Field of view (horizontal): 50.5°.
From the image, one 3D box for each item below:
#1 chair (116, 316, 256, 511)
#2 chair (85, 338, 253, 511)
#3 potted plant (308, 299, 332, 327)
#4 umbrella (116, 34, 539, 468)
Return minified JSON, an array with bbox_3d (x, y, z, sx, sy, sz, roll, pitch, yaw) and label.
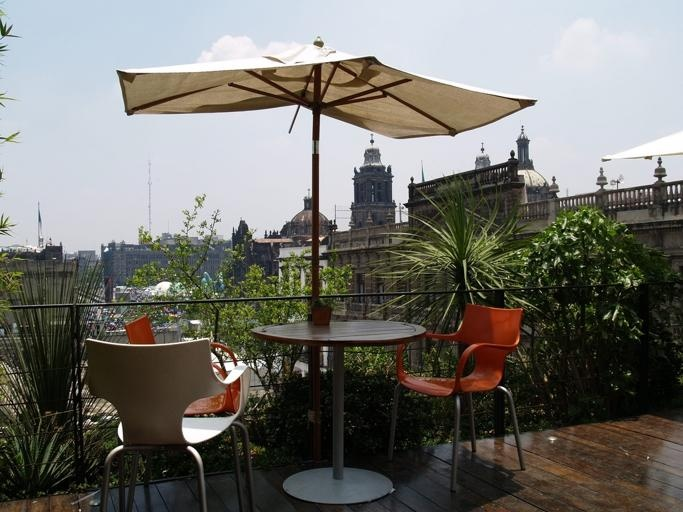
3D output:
[{"bbox_3d":[-1.087,0.914,5.088,0.749,0.836,0.803,-1,3,-33],"label":"chair"},{"bbox_3d":[-1.137,1.050,4.883,0.984,1.705,1.141,1,-2,2],"label":"chair"},{"bbox_3d":[-0.158,0.463,5.718,0.171,0.145,0.168,-2,-3,31],"label":"potted plant"},{"bbox_3d":[-0.169,-0.220,6.548,3.173,3.344,3.343,1,-5,-1],"label":"umbrella"}]
